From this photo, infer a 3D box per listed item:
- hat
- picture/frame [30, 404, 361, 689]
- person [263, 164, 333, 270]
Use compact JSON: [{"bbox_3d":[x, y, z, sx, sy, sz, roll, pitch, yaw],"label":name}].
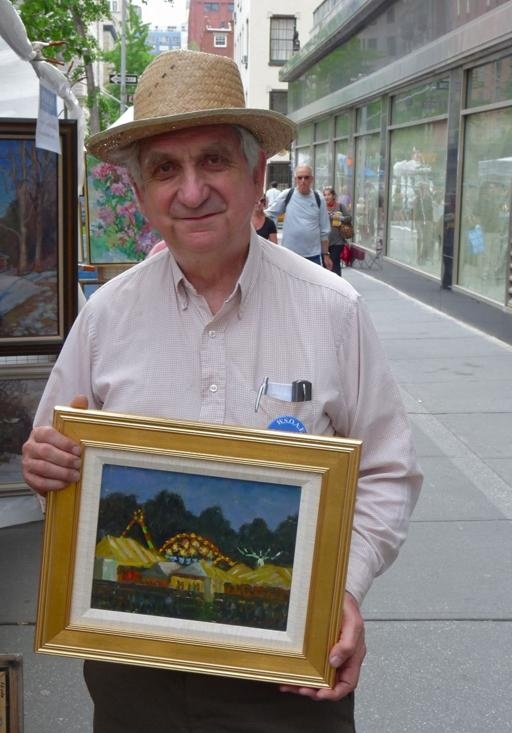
[{"bbox_3d":[-0.081,-0.537,1.807,0.617,0.222,0.556,5,13,-14],"label":"hat"},{"bbox_3d":[-0.110,0.351,1.457,0.665,0.480,0.051,5,-8,8],"label":"picture/frame"},{"bbox_3d":[0.594,-1.858,11.049,1.042,1.886,0.582,-5,29,-8],"label":"person"}]
